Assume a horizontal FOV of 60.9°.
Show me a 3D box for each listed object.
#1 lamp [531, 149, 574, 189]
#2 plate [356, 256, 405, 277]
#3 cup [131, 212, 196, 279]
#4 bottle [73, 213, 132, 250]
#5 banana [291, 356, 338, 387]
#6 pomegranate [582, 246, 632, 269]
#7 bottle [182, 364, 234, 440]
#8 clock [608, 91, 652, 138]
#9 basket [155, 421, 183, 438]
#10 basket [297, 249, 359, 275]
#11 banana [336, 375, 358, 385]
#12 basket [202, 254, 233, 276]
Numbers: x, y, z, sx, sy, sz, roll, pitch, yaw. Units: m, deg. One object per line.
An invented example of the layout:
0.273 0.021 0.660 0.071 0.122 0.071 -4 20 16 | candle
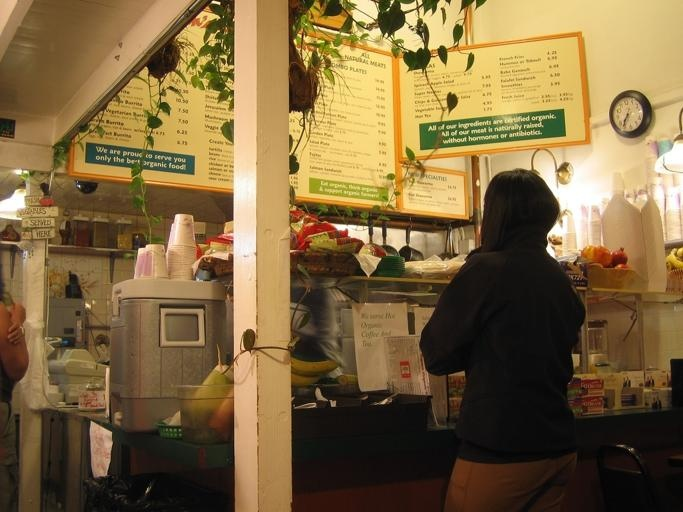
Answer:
1.991 -0.809 5.566 0.343 0.477 0.220 -16 21 5 | lamp
0.208 0.047 2.927 0.151 0.063 0.132 0 -4 18 | plate
-0.742 -0.033 2.530 0.324 0.332 0.196 3 -7 -27 | cup
-3.049 -0.284 7.381 0.706 0.406 0.341 4 -5 -27 | bottle
-0.126 0.513 2.549 0.177 0.115 0.138 6 -7 -44 | banana
1.640 0.006 3.673 0.544 0.140 0.194 5 -6 -41 | pomegranate
-0.464 0.570 2.191 0.199 0.259 0.266 -2 -15 9 | bottle
2.489 -1.204 4.977 0.071 0.483 0.399 8 -11 -28 | clock
-0.653 0.669 2.228 0.077 0.030 0.069 5 -8 1 | basket
-0.072 0.035 2.771 0.343 0.109 0.115 5 -6 -35 | basket
0.022 0.590 2.791 0.102 0.040 0.126 4 -5 -27 | banana
-0.589 0.040 2.732 0.148 0.085 0.184 2 -5 -15 | basket
